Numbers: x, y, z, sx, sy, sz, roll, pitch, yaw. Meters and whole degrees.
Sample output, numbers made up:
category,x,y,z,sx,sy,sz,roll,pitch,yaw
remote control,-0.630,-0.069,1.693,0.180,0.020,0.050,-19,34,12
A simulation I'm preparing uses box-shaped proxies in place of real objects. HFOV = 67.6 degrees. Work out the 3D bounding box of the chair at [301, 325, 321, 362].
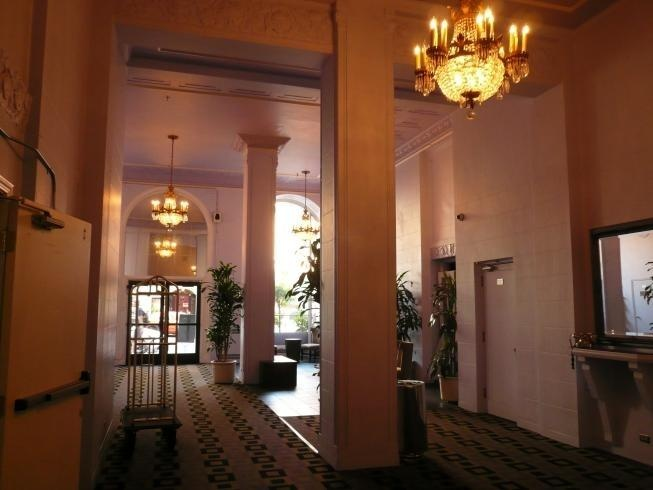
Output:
category,x,y,z,sx,sy,sz,roll,pitch,yaw
chair,-0.537,3.269,16.453,0.581,1.250,2.054,1,-6,-3

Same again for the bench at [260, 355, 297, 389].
category,x,y,z,sx,sy,sz,roll,pitch,yaw
bench,-1.092,2.852,11.010,0.614,0.510,0.645,0,-2,-6

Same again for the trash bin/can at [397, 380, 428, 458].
category,x,y,z,sx,sy,sz,roll,pitch,yaw
trash bin/can,1.110,2.248,6.272,0.393,0.850,0.211,1,-6,-11

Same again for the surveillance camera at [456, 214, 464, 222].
category,x,y,z,sx,sy,sz,roll,pitch,yaw
surveillance camera,2.446,-0.486,8.843,0.060,0.136,0.185,3,-7,-26
